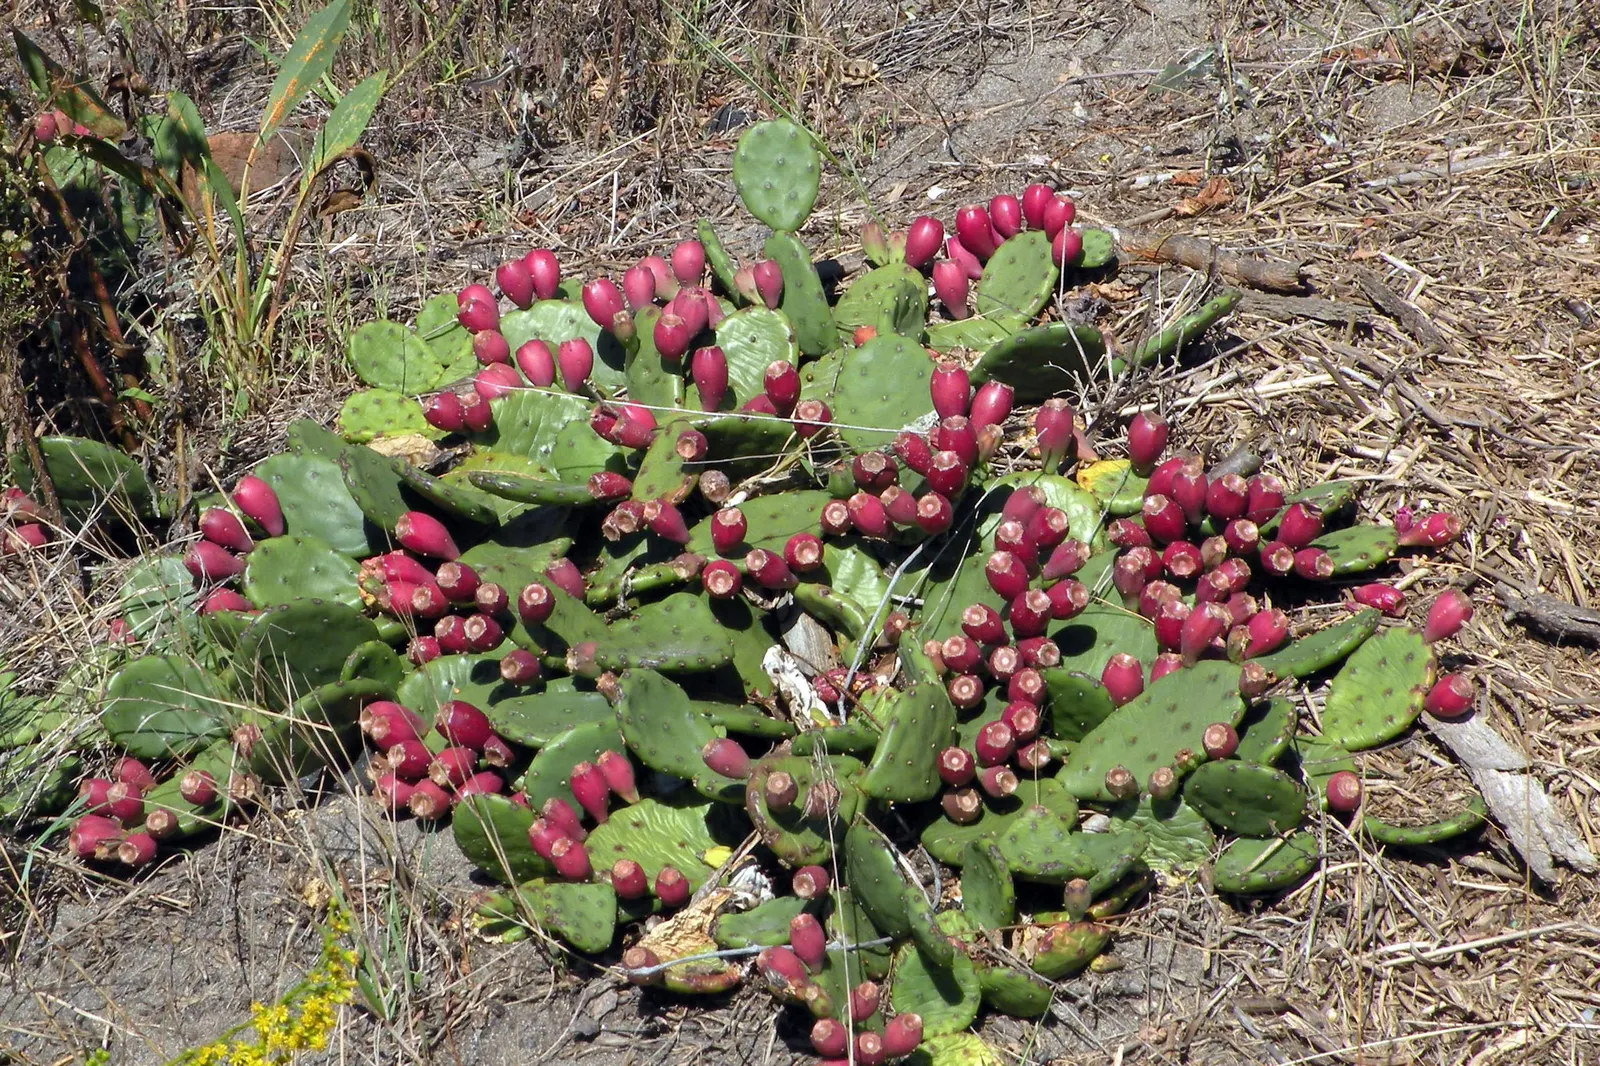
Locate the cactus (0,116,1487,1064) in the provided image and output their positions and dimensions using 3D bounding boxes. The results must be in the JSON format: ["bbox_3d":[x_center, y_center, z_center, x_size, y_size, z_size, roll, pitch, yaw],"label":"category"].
[{"bbox_3d":[-0.056,0.249,4.652,3.173,0.648,2.508,19,64,13],"label":"cactus"}]
